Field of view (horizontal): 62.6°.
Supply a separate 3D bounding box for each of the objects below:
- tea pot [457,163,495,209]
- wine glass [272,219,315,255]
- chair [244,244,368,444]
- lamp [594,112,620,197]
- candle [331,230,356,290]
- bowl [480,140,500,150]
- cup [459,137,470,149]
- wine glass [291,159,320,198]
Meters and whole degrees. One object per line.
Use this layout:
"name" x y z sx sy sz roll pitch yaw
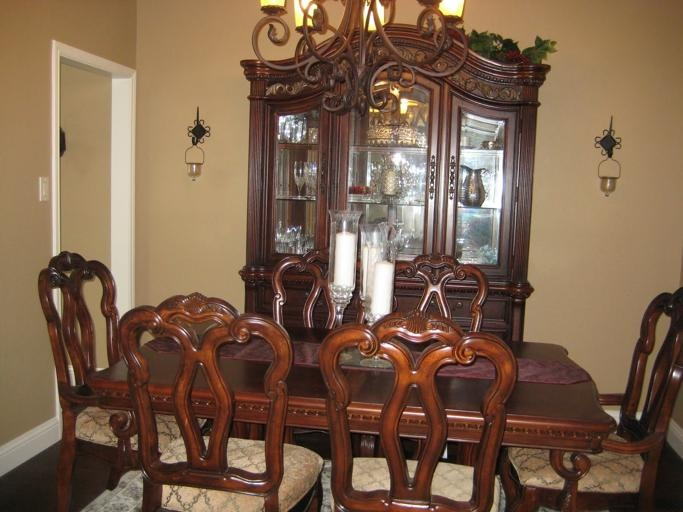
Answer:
"tea pot" 0.872 -0.467 3.722 0.236 0.288 0.225 4 0 0
"wine glass" -0.332 -0.137 3.883 0.260 0.094 0.198 11 10 41
"chair" -0.270 0.342 3.500 0.595 1.068 0.609 2 3 19
"lamp" 1.878 -0.700 3.936 0.196 0.566 0.136 3 8 10
"candle" 0.017 0.020 2.467 0.104 0.255 0.072 -1 8 -13
"bowl" 0.981 -0.729 3.679 0.123 0.061 0.015 2 8 3
"cup" 0.812 -0.748 3.706 0.058 0.073 0.061 1 6 0
"wine glass" -0.259 -0.522 3.852 0.187 0.333 0.218 -1 10 -14
